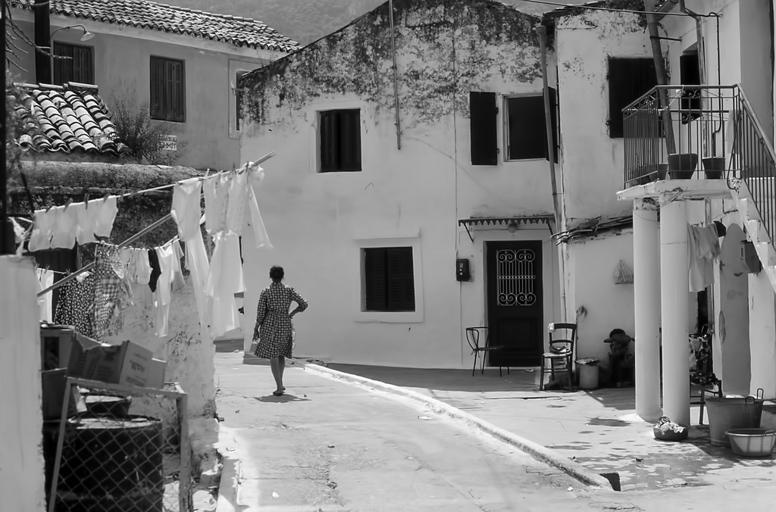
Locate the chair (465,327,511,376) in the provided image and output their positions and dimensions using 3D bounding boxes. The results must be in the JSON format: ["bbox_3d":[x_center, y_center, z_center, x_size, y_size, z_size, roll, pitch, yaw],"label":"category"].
[{"bbox_3d":[2.176,2.167,23.412,0.681,0.970,0.687,-2,2,25],"label":"chair"}]

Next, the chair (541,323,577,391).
[{"bbox_3d":[3.333,1.971,20.786,0.723,1.132,0.733,2,3,-2],"label":"chair"}]

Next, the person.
[{"bbox_3d":[-2.041,1.393,19.109,0.882,2.454,0.816,0,-4,-6],"label":"person"}]

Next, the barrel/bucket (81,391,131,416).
[{"bbox_3d":[-3.484,1.854,12.545,0.516,0.206,0.528,2,-3,0],"label":"barrel/bucket"}]

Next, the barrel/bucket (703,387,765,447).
[{"bbox_3d":[5.299,2.480,15.500,0.700,0.732,0.785,3,-6,-30],"label":"barrel/bucket"}]
